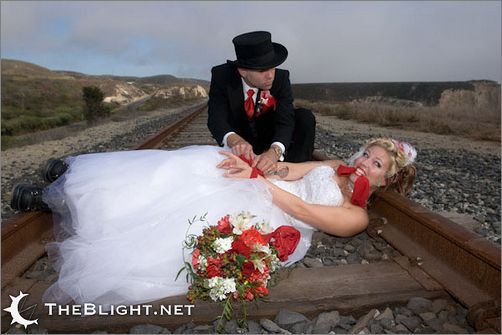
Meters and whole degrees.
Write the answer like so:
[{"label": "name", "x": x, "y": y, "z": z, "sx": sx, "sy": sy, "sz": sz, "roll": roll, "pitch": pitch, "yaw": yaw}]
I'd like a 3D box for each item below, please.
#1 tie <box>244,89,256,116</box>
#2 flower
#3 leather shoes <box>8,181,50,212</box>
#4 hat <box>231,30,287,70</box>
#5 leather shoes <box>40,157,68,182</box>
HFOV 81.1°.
[{"label": "tie", "x": -0.031, "y": -0.899, "z": 4.060, "sx": 0.123, "sy": 0.334, "sz": 0.076, "roll": 3, "pitch": 6, "yaw": 8}, {"label": "flower", "x": -0.169, "y": 0.803, "z": 2.504, "sx": 0.843, "sy": 0.796, "sz": 0.587, "roll": -19, "pitch": -13, "yaw": -25}, {"label": "leather shoes", "x": -2.213, "y": 0.302, "z": 2.912, "sx": 0.448, "sy": 0.211, "sz": 0.190, "roll": 0, "pitch": 7, "yaw": -44}, {"label": "hat", "x": 0.118, "y": -1.400, "z": 3.525, "sx": 0.579, "sy": 0.438, "sz": 0.585, "roll": -20, "pitch": 28, "yaw": -39}, {"label": "leather shoes", "x": -2.001, "y": 0.028, "z": 2.959, "sx": 0.227, "sy": 0.208, "sz": 0.252, "roll": 27, "pitch": -35, "yaw": -24}]
